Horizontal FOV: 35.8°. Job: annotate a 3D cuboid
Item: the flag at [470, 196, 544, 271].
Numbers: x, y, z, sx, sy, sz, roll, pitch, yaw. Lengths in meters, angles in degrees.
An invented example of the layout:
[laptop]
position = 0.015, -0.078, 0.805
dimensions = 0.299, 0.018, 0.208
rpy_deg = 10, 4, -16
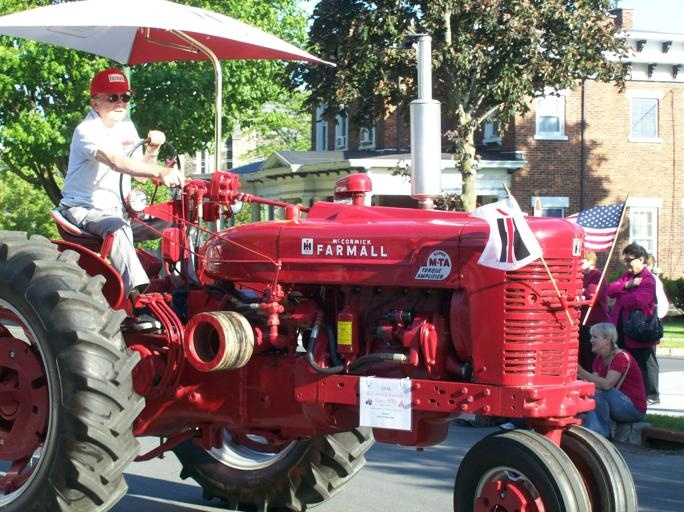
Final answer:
[flag]
position = 1.213, -0.172, 7.842
dimensions = 0.505, 0.562, 0.250
rpy_deg = 1, 2, 10

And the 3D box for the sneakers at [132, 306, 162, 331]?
[sneakers]
position = -1.653, 0.547, 8.934
dimensions = 0.207, 0.063, 0.200
rpy_deg = 10, 20, -41

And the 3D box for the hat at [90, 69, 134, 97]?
[hat]
position = -2.040, -1.536, 9.441
dimensions = 0.339, 0.163, 0.246
rpy_deg = 1, 5, 32

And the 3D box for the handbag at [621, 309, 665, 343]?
[handbag]
position = 3.661, 0.853, 13.051
dimensions = 0.433, 0.400, 0.216
rpy_deg = 3, 6, 13
